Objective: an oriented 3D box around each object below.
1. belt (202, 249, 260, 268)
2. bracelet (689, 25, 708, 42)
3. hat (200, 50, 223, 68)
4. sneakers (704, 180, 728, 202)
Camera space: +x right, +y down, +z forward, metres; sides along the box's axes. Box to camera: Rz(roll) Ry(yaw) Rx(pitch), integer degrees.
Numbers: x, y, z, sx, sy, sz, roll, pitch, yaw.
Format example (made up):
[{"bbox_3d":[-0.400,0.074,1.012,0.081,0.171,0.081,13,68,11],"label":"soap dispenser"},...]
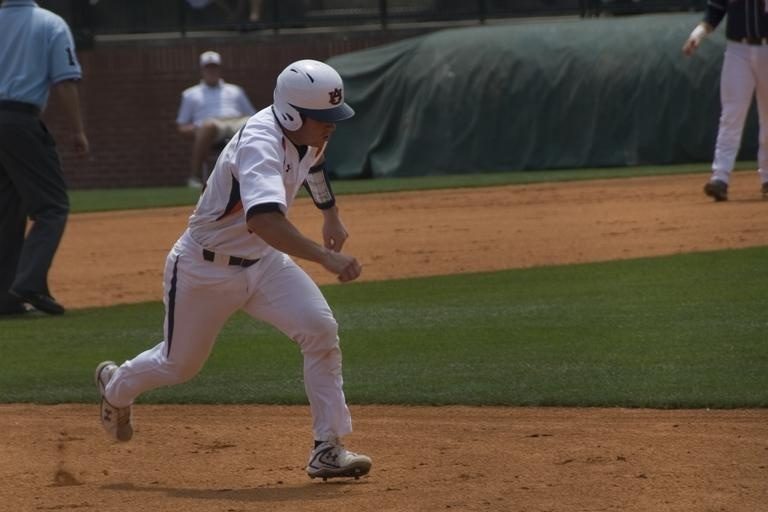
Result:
[{"bbox_3d":[-1.324,0.037,14.997,0.471,0.156,0.049,-2,16,-5],"label":"belt"},{"bbox_3d":[3.235,-2.260,17.868,0.119,0.093,0.381,31,24,10],"label":"bracelet"},{"bbox_3d":[-2.305,-2.583,23.116,0.462,0.167,0.581,-3,8,-5],"label":"hat"},{"bbox_3d":[3.502,-0.662,18.191,0.156,0.136,0.308,-10,-30,32],"label":"sneakers"}]
